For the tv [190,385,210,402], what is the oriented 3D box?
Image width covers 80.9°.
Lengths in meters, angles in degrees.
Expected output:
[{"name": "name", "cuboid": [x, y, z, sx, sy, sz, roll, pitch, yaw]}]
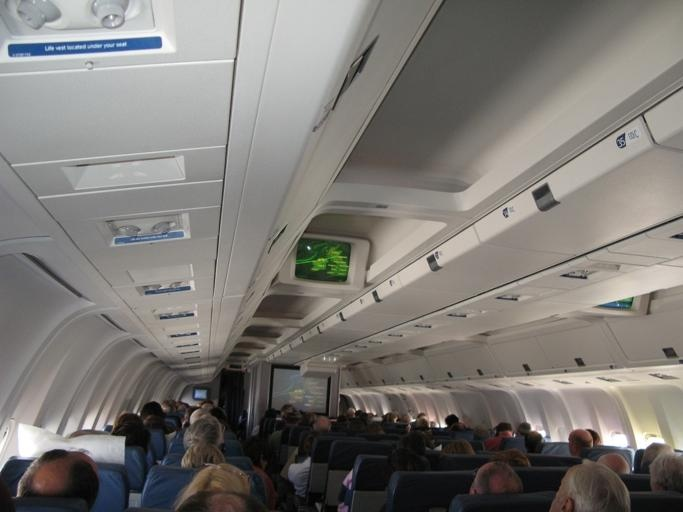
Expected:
[{"name": "tv", "cuboid": [-10.508, 10.368, 29.855, 1.190, 1.215, 1.191, 3, -28, -11]}]

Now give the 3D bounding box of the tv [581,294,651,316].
[{"name": "tv", "cuboid": [4.877, 0.912, 7.064, 1.002, 0.328, 0.488, -3, -27, 1]}]

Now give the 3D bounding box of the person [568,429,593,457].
[{"name": "person", "cuboid": [3.814, 3.005, 6.409, 0.347, 0.383, 0.761, -16, -29, 23]}]

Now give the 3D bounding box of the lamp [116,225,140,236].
[{"name": "lamp", "cuboid": [-1.714, -0.205, 3.213, 0.100, 0.029, 0.110, 0, -20, -21]}]

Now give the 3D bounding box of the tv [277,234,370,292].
[{"name": "tv", "cuboid": [-0.307, 0.115, 7.045, 1.486, 0.681, 0.803, 1, -27, -7]}]

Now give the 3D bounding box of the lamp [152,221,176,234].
[{"name": "lamp", "cuboid": [-1.461, -0.232, 3.249, 0.127, 0.028, 0.101, 3, -30, -18]}]
